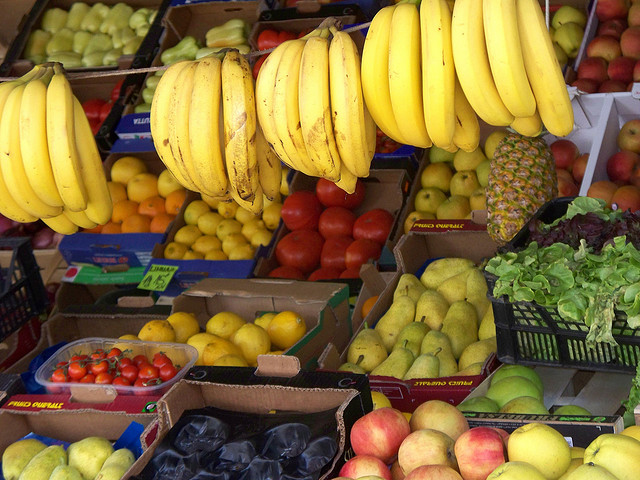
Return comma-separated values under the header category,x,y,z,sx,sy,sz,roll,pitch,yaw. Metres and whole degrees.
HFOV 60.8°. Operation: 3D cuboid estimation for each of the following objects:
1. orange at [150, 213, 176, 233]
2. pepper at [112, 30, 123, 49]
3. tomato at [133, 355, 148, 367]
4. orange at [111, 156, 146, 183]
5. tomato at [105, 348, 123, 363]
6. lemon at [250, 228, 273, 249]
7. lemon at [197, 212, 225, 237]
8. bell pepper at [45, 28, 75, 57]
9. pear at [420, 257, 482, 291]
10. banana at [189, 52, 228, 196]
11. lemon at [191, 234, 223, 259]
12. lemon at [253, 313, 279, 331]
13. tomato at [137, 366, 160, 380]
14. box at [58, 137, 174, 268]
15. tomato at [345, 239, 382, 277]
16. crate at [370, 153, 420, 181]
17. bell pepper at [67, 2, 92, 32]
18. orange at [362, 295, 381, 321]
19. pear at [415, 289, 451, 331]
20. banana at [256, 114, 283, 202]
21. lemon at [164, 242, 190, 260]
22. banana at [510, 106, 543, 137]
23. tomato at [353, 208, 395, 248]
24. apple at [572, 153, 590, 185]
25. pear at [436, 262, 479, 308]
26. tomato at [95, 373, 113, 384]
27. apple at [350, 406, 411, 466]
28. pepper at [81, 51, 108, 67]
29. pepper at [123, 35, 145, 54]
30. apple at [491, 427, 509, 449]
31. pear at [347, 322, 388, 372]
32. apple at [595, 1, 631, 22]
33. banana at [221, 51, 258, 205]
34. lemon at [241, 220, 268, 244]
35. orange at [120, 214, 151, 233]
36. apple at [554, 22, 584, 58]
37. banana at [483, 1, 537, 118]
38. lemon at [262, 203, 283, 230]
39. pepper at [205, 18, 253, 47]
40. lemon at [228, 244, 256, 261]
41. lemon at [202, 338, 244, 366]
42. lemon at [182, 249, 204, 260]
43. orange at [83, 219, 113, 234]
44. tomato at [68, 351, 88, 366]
category,x,y,z,sx,sy,sz,roll,pitch,yaw
orange,-1.383,-0.162,4.733,0.160,0.168,0.168,-1,24,-15
pepper,-2.330,-2.321,6.271,0.121,0.087,0.262,-15,62,3
tomato,-0.981,0.651,2.972,0.048,0.054,0.054,1,3,13
orange,-1.778,-0.669,5.079,0.241,0.246,0.249,-23,66,-19
tomato,-1.106,0.617,2.932,0.063,0.080,0.068,-12,68,2
lemon,-0.475,-0.023,4.413,0.145,0.143,0.155,3,53,-2
lemon,-0.918,-0.128,4.660,0.195,0.157,0.159,-7,32,19
bell pepper,-3.025,-2.306,6.362,0.205,0.210,0.423,13,48,38
pear,0.785,0.191,3.358,0.257,0.158,0.200,-21,1,-2
banana,-0.393,-0.427,2.040,0.118,0.482,0.152,-1,7,7
lemon,-0.926,0.041,4.456,0.204,0.161,0.174,1,63,-1
lemon,-0.343,0.478,3.355,0.094,0.099,0.116,7,21,17
tomato,-0.873,0.677,2.789,0.074,0.072,0.074,22,47,-18
box,-1.846,-0.409,4.935,0.847,0.465,1.293,-5,68,-10
tomato,0.322,0.122,4.113,0.246,0.255,0.237,5,2,34
crate,0.594,-0.573,4.227,0.296,0.135,0.240,-2,60,22
bell pepper,-2.957,-2.697,6.712,0.192,0.189,0.429,14,59,7
orange,0.307,0.402,3.434,0.113,0.142,0.112,-25,28,-28
pear,0.685,0.385,3.060,0.144,0.142,0.228,-30,-2,-42
banana,-0.191,-0.324,2.262,0.080,0.316,0.102,-2,36,3
lemon,-1.154,0.088,4.407,0.139,0.141,0.180,-26,3,14
banana,0.752,-0.412,1.969,0.069,0.095,0.062,-27,32,45
tomato,0.401,-0.092,4.202,0.279,0.280,0.242,-3,-16,35
apple,1.684,-0.455,3.537,0.083,0.215,0.353,5,29,25
pear,0.808,0.263,3.215,0.161,0.224,0.130,9,-5,31
tomato,-1.104,0.700,2.784,0.055,0.060,0.056,5,7,16
apple,0.210,0.719,1.913,0.200,0.228,0.224,-9,44,3
pepper,-2.542,-2.032,6.130,0.304,0.159,0.115,-5,-2,-8
pepper,-2.105,-2.197,6.152,0.142,0.101,0.296,18,76,44
apple,0.601,0.658,1.817,0.042,0.055,0.044,-5,6,2
pear,0.256,0.559,2.870,0.181,0.179,0.282,-1,49,8
apple,2.428,-1.896,4.528,0.191,0.216,0.204,7,-5,17
banana,-0.289,-0.410,2.064,0.110,0.562,0.172,-1,2,3
lemon,-0.549,-0.106,4.578,0.191,0.184,0.219,-24,32,-26
orange,-1.620,-0.146,4.821,0.188,0.204,0.198,-1,8,3
apple,2.117,-1.717,4.738,0.247,0.291,0.265,0,-1,30
banana,0.610,-0.574,1.751,0.160,0.365,0.139,-3,26,10
lemon,-0.396,-0.203,4.570,0.168,0.185,0.225,1,49,6
pepper,-0.918,-2.089,5.625,0.495,0.240,0.272,-11,19,22
lemon,-0.612,0.104,4.341,0.150,0.128,0.117,-8,-8,23
lemon,-0.542,0.589,2.963,0.172,0.142,0.138,8,-7,-11
lemon,-1.013,0.119,4.365,0.106,0.063,0.082,-5,20,-6
orange,-1.463,-0.089,3.618,0.110,0.118,0.105,-8,1,-2
tomato,-1.299,0.624,2.926,0.062,0.067,0.090,-22,40,36
